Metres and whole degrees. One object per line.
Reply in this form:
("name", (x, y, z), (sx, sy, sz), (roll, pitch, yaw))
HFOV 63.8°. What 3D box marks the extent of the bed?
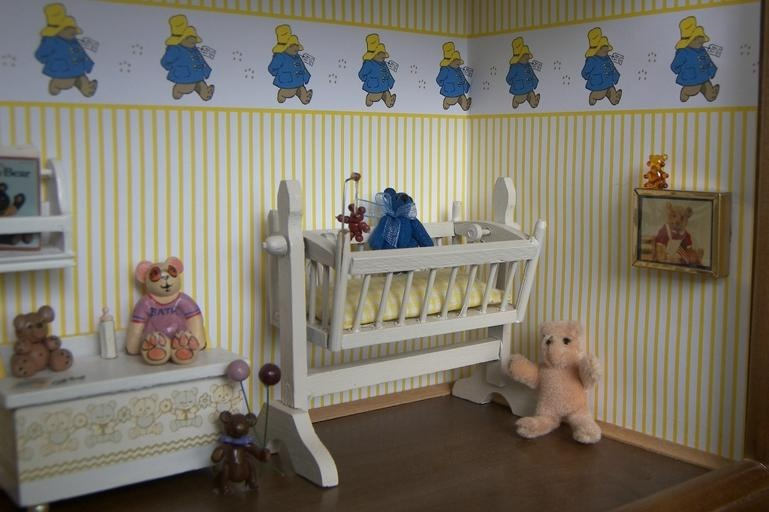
("bed", (0.126, 0.276, 3.427), (1.540, 1.444, 0.786), (-5, 9, -35))
